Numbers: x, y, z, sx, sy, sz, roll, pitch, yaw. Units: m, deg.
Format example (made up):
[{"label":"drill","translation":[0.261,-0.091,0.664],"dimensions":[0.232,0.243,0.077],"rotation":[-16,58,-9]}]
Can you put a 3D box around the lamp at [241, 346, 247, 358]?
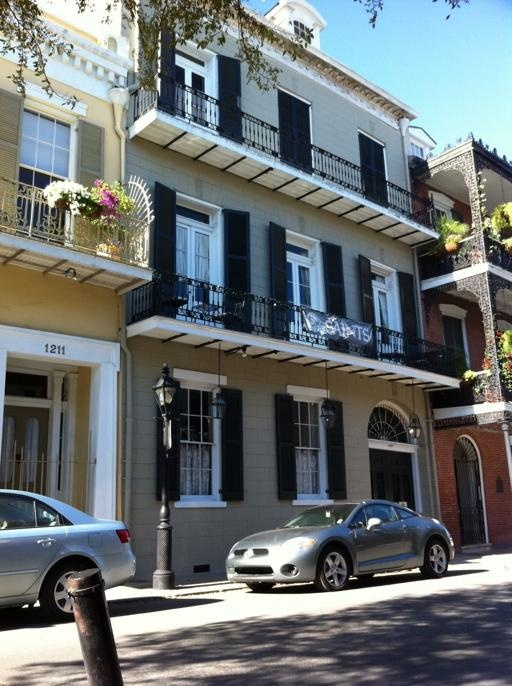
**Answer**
[{"label":"lamp","translation":[-0.288,0.179,13.759],"dimensions":[0.173,0.182,0.186],"rotation":[1,-6,-5]}]

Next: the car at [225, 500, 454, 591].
[{"label":"car","translation":[1.428,3.305,10.306],"dimensions":[3.966,1.342,1.885],"rotation":[6,-11,-40]}]

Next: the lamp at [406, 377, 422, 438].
[{"label":"lamp","translation":[4.596,2.019,17.949],"dimensions":[0.412,1.674,1.687],"rotation":[-3,-9,14]}]

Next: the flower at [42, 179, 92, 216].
[{"label":"flower","translation":[-3.273,-2.518,10.687],"dimensions":[0.782,0.595,0.315],"rotation":[2,-9,-18]}]

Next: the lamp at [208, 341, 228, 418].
[{"label":"lamp","translation":[-0.818,0.858,13.426],"dimensions":[0.326,1.580,0.699],"rotation":[-1,-9,-4]}]

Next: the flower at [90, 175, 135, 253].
[{"label":"flower","translation":[-2.623,-2.260,11.231],"dimensions":[0.360,1.398,0.939],"rotation":[-4,-9,20]}]

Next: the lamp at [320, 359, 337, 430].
[{"label":"lamp","translation":[1.813,1.319,15.523],"dimensions":[0.378,1.673,1.299],"rotation":[-2,-9,7]}]
